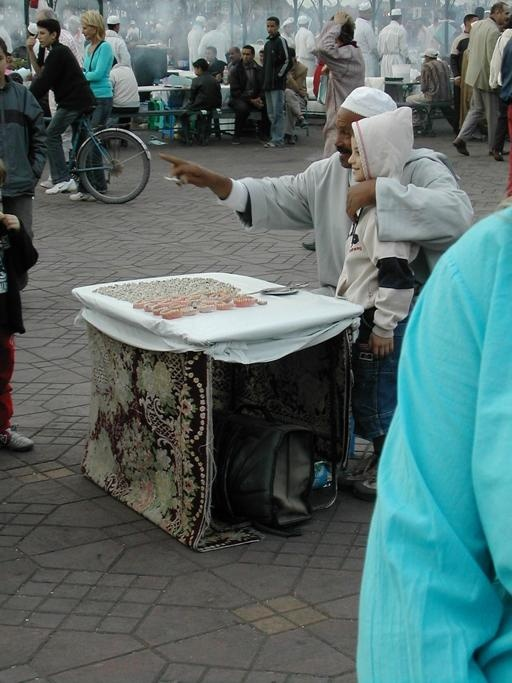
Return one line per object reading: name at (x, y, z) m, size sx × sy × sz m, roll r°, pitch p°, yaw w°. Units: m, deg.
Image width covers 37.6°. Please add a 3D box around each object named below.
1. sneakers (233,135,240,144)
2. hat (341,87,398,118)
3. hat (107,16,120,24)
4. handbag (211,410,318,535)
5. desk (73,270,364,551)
sneakers at (-0.412, -4.207, 15.664) m, size 0.125 × 0.163 × 0.205 m, roll -2°, pitch 13°, yaw -1°
hat at (0.467, -1.019, 3.229) m, size 0.237 × 0.112 × 0.154 m, roll 5°, pitch 27°, yaw 1°
hat at (-2.823, -6.375, 14.921) m, size 0.224 × 0.101 × 0.269 m, roll -4°, pitch 26°, yaw -5°
handbag at (-0.016, 0.599, 3.593) m, size 0.422 × 0.471 × 0.739 m, roll 3°, pitch 0°, yaw -31°
desk at (-0.140, 0.281, 3.630) m, size 1.037 × 0.879 × 1.191 m, roll -3°, pitch 10°, yaw -33°
